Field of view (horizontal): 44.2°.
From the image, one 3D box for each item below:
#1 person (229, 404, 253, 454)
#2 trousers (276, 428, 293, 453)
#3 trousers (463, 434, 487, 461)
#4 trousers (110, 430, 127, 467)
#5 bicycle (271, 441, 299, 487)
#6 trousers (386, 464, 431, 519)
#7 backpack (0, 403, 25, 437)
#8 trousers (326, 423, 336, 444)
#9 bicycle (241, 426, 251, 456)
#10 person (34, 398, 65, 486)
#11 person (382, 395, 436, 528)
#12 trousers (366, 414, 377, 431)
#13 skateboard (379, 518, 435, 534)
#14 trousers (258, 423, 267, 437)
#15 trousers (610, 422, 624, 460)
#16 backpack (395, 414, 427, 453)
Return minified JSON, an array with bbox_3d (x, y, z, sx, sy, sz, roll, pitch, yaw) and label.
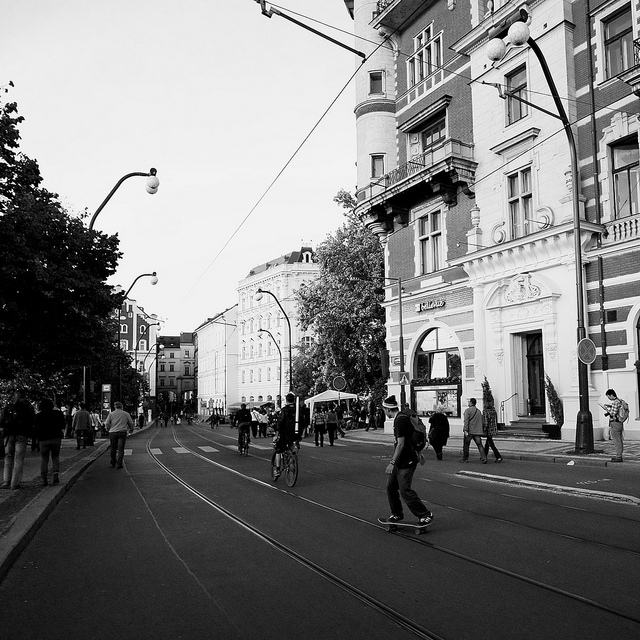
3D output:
[{"bbox_3d":[-2.346,3.387,24.033,0.564,1.704,2.120,-3,10,-11],"label":"person"},{"bbox_3d":[-0.654,2.291,15.039,0.181,0.693,0.147,6,25,-14],"label":"trousers"},{"bbox_3d":[3.803,3.114,19.171,0.463,0.642,1.079,0,-10,-11],"label":"trousers"},{"bbox_3d":[-5.003,3.198,19.473,0.407,0.880,1.001,1,-10,-15],"label":"trousers"},{"bbox_3d":[-0.671,2.780,14.954,0.375,0.605,0.854,0,-8,-21],"label":"bicycle"},{"bbox_3d":[1.199,2.201,10.424,0.651,0.748,0.508,1,-2,-23],"label":"trousers"},{"bbox_3d":[-5.453,1.777,13.959,0.270,0.563,0.330,-32,-30,31],"label":"backpack"},{"bbox_3d":[0.433,4.099,28.341,0.316,0.727,0.718,-2,-9,5],"label":"trousers"},{"bbox_3d":[-2.243,3.634,23.557,0.203,0.794,0.437,0,-8,-5],"label":"bicycle"},{"bbox_3d":[-5.035,2.270,14.553,0.415,1.564,0.652,-4,-8,25],"label":"person"},{"bbox_3d":[1.154,1.846,10.410,0.582,1.725,0.875,-2,-8,5],"label":"person"},{"bbox_3d":[2.948,5.532,43.007,0.381,0.769,1.222,-2,-10,4],"label":"trousers"},{"bbox_3d":[1.091,2.675,10.318,0.759,0.183,0.246,-6,0,35],"label":"skateboard"},{"bbox_3d":[-2.706,5.244,37.429,0.425,0.600,1.045,-1,-10,-6],"label":"trousers"},{"bbox_3d":[6.588,2.657,17.269,0.243,0.802,0.397,-4,-8,22],"label":"trousers"},{"bbox_3d":[1.235,1.474,10.375,0.437,0.572,0.334,-5,-5,6],"label":"backpack"}]
